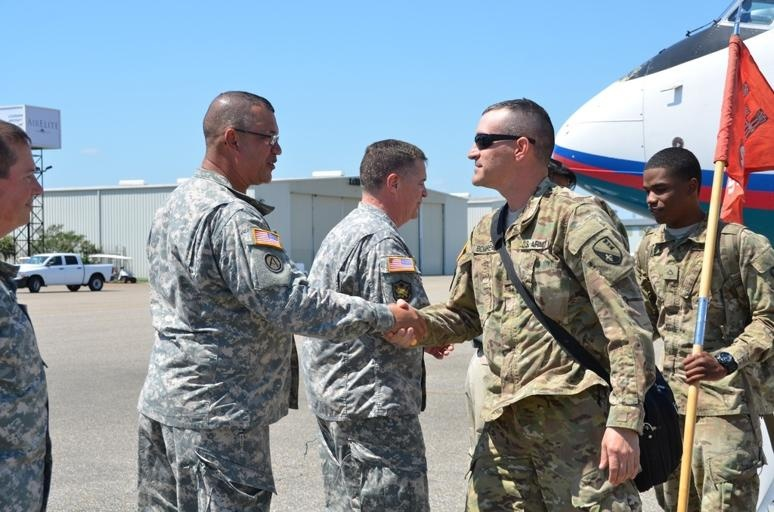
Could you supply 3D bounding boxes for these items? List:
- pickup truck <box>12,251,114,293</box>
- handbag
[{"bbox_3d":[-12.544,0.673,28.354,1.557,1.201,3.457,-4,-7,36],"label":"pickup truck"},{"bbox_3d":[1.445,0.971,3.909,0.198,0.656,0.387,3,5,36],"label":"handbag"}]
